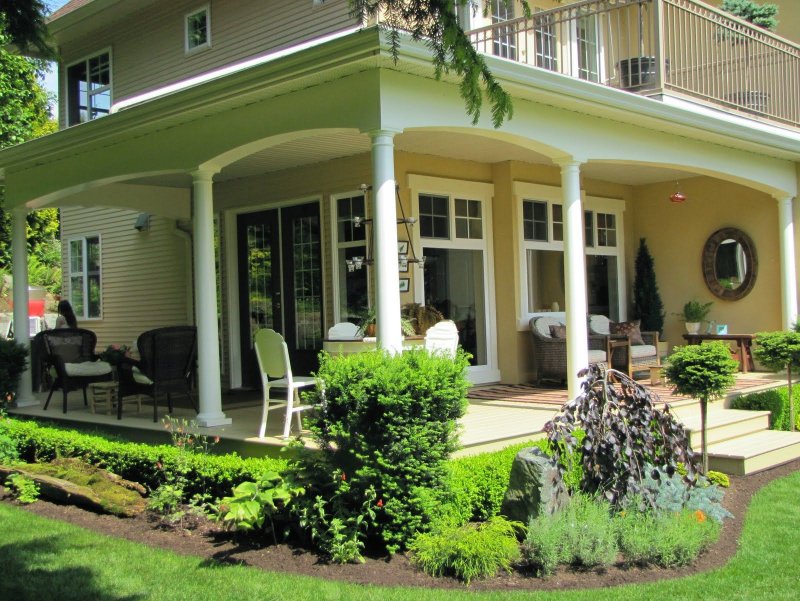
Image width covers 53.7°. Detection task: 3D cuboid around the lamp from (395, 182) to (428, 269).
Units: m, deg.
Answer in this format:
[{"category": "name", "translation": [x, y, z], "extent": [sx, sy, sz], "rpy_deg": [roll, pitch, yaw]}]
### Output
[{"category": "lamp", "translation": [0.184, -1.028, 11.236], "extent": [0.414, 1.219, 0.529], "rpy_deg": [-1, 12, -1]}]

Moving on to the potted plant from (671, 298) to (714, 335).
[{"category": "potted plant", "translation": [5.203, 0.273, 13.977], "extent": [0.568, 0.551, 0.591], "rpy_deg": [1, -1, -40]}]

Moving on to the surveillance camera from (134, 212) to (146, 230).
[{"category": "surveillance camera", "translation": [-4.921, -1.496, 14.959], "extent": [0.297, 0.317, 0.110], "rpy_deg": [4, -11, 40]}]

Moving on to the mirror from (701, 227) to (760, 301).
[{"category": "mirror", "translation": [5.838, -0.652, 13.748], "extent": [0.109, 1.637, 1.134], "rpy_deg": [1, -4, -37]}]

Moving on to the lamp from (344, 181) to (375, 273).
[{"category": "lamp", "translation": [-0.465, -1.041, 11.219], "extent": [0.548, 1.153, 0.523], "rpy_deg": [4, 2, 38]}]
